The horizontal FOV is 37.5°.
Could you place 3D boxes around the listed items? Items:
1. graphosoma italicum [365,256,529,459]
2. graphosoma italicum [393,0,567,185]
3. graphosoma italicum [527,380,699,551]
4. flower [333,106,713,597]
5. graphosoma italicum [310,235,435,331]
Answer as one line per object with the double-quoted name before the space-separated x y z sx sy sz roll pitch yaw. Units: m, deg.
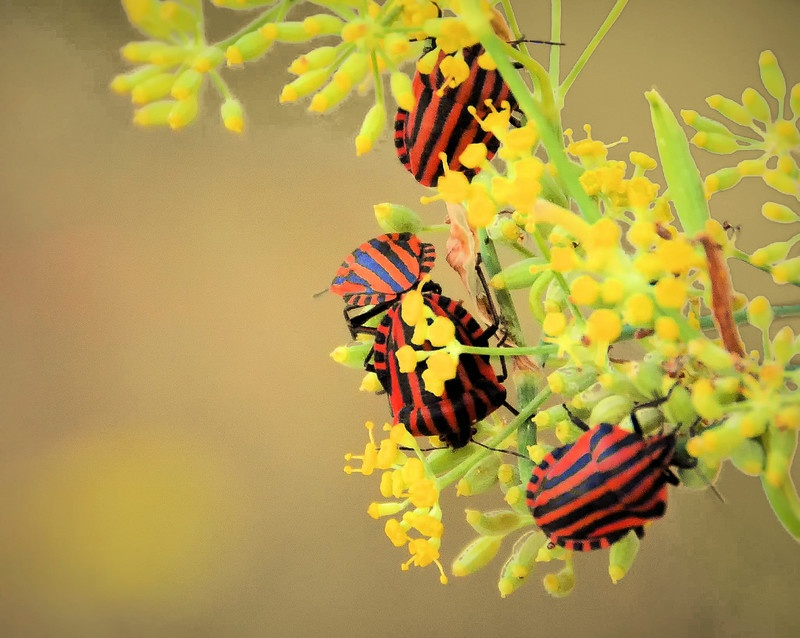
"graphosoma italicum" 0.053 0.067 1.458 0.217 0.296 0.091 -6 -41 -6
"graphosoma italicum" 0.074 -0.276 1.423 0.172 0.217 0.059 16 14 25
"graphosoma italicum" 0.239 0.177 1.365 0.203 0.167 0.063 -30 1 15
"flower" 0.093 0.018 1.404 0.120 0.492 0.420 16 -10 42
"graphosoma italicum" -0.038 -0.047 1.460 0.121 0.088 0.037 -38 -36 16
